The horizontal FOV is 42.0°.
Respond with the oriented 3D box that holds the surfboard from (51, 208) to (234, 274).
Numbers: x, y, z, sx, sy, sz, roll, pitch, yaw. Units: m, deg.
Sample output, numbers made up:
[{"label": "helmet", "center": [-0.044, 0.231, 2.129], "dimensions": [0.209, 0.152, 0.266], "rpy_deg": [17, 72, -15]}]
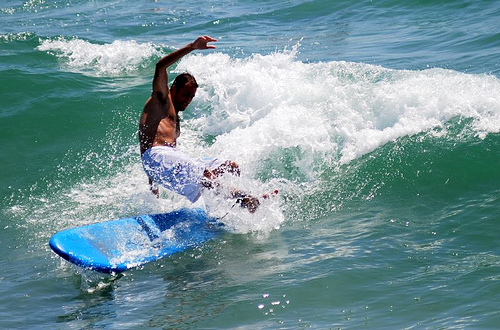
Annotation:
[{"label": "surfboard", "center": [-1.758, 1.186, 10.213], "dimensions": [3.187, 0.422, 0.965], "rpy_deg": [-7, 46, -41]}]
